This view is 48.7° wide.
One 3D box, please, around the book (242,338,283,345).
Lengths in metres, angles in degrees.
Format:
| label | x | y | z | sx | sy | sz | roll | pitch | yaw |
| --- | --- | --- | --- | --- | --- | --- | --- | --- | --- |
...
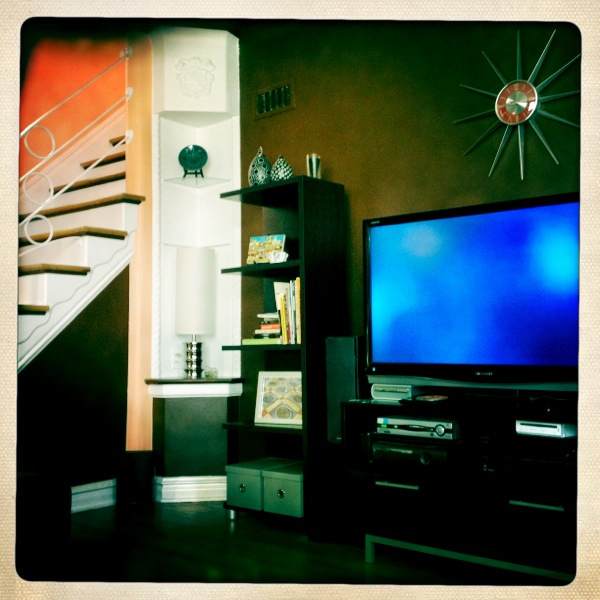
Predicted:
| label | x | y | z | sx | sy | sz | roll | pitch | yaw |
| --- | --- | --- | --- | --- | --- | --- | --- | --- | --- |
| book | -0.179 | 0.205 | 3.263 | 0.074 | 0.033 | 0.312 | 4 | -5 | -38 |

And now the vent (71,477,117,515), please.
| label | x | y | z | sx | sy | sz | roll | pitch | yaw |
| --- | --- | --- | --- | --- | --- | --- | --- | --- | --- |
| vent | -1.088 | 1.038 | 3.513 | 0.074 | 0.130 | 0.310 | -2 | -5 | 32 |

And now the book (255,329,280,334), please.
| label | x | y | z | sx | sy | sz | roll | pitch | yaw |
| --- | --- | --- | --- | --- | --- | --- | --- | --- | --- |
| book | -0.167 | 0.158 | 3.301 | 0.056 | 0.024 | 0.196 | 3 | -4 | -28 |

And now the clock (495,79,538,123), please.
| label | x | y | z | sx | sy | sz | roll | pitch | yaw |
| --- | --- | --- | --- | --- | --- | --- | --- | --- | --- |
| clock | 0.897 | -0.817 | 2.726 | 0.020 | 0.209 | 0.180 | 5 | -8 | -41 |

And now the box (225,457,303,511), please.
| label | x | y | z | sx | sy | sz | roll | pitch | yaw |
| --- | --- | --- | --- | --- | --- | --- | --- | --- | --- |
| box | -0.228 | 0.881 | 3.263 | 0.250 | 0.168 | 0.256 | -3 | -6 | 44 |

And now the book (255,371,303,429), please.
| label | x | y | z | sx | sy | sz | roll | pitch | yaw |
| --- | --- | --- | --- | --- | --- | --- | --- | --- | --- |
| book | -0.083 | 0.504 | 3.346 | 0.291 | 0.285 | 0.069 | -12 | -26 | 43 |

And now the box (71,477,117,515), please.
| label | x | y | z | sx | sy | sz | roll | pitch | yaw |
| --- | --- | --- | --- | --- | --- | --- | --- | --- | --- |
| box | -1.096 | 1.040 | 3.518 | 0.058 | 0.189 | 0.265 | -7 | -9 | 41 |

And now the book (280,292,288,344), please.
| label | x | y | z | sx | sy | sz | roll | pitch | yaw |
| --- | --- | --- | --- | --- | --- | --- | --- | --- | --- |
| book | -0.076 | 0.084 | 3.171 | 0.038 | 0.244 | 0.057 | 1 | -4 | -2 |

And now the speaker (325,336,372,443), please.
| label | x | y | z | sx | sy | sz | roll | pitch | yaw |
| --- | --- | --- | --- | --- | --- | --- | --- | --- | --- |
| speaker | 0.199 | 0.393 | 2.900 | 0.168 | 0.454 | 0.105 | 0 | -4 | 1 |
